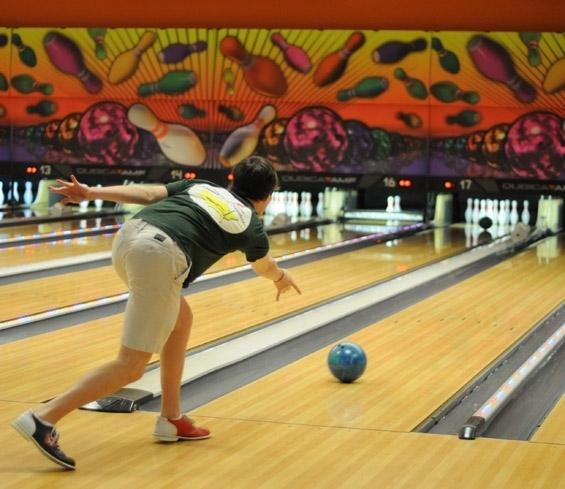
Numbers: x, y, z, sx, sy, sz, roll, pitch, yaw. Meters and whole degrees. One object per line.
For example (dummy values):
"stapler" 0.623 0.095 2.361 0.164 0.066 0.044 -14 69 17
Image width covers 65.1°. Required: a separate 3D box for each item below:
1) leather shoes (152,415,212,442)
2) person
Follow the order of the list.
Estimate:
"leather shoes" -0.264 0.481 1.179 0.151 0.057 0.057 2 -4 -23
"person" -0.324 0.140 1.136 0.346 0.740 0.709 13 16 38
